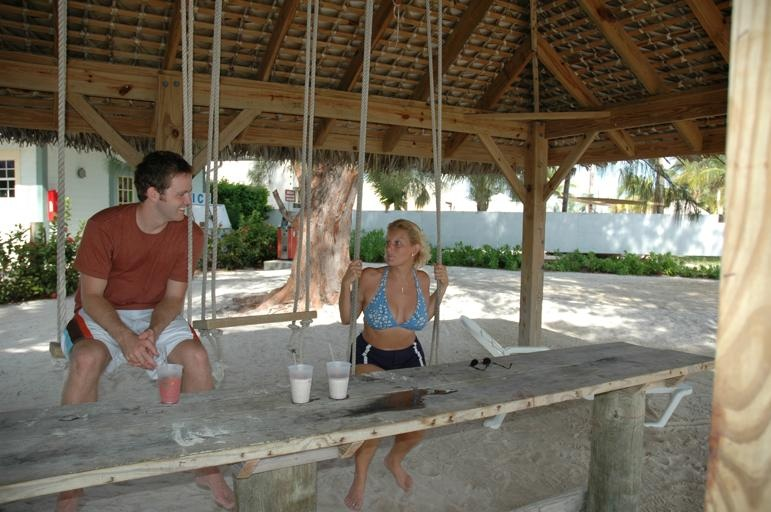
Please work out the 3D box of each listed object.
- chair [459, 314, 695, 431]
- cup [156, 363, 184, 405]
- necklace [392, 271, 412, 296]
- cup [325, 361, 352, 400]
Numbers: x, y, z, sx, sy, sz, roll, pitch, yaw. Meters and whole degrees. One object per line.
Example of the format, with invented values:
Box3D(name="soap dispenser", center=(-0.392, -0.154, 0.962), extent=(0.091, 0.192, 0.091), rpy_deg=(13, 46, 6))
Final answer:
Box3D(name="chair", center=(1.517, 0.918, 4.111), extent=(1.688, 0.804, 0.867), rpy_deg=(-3, 3, -4))
Box3D(name="cup", center=(-1.012, 0.606, 2.663), extent=(0.125, 0.175, 0.134), rpy_deg=(-4, -15, -1))
Box3D(name="necklace", center=(0.110, 0.192, 3.860), extent=(0.153, 0.058, 0.145), rpy_deg=(-1, 48, -11))
Box3D(name="cup", center=(-0.217, 0.591, 2.726), extent=(0.131, 0.143, 0.133), rpy_deg=(-1, 4, 0))
